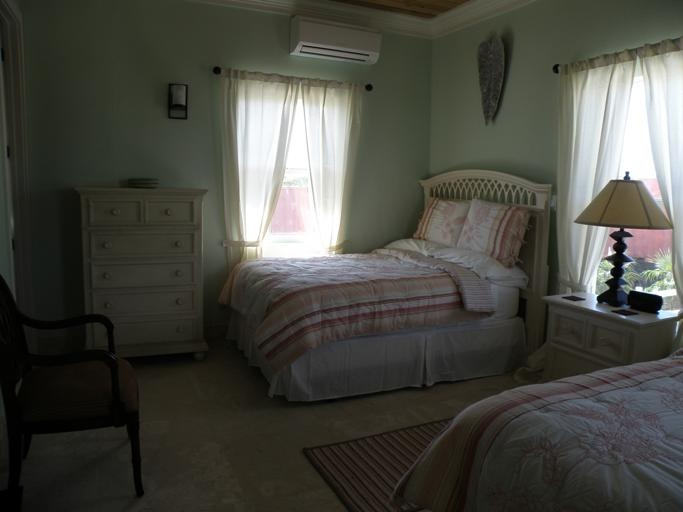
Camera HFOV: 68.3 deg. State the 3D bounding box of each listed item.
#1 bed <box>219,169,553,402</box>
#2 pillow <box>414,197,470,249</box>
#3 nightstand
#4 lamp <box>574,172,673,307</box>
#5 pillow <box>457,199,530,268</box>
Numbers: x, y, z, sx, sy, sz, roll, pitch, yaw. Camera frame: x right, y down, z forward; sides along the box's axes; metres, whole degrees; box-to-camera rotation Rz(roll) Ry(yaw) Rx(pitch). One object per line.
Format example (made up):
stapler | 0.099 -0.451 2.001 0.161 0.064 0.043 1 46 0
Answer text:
bed | 0.315 0.092 4.354 2.402 1.702 2.008 -5 11 -35
pillow | 0.974 -0.314 4.824 0.133 0.481 0.489 26 -6 -34
nightstand | 1.832 0.507 3.586 0.517 0.843 0.808 -2 6 -17
lamp | 1.911 -0.099 3.384 0.556 0.904 0.328 1 9 -5
pillow | 1.297 -0.210 4.253 0.162 0.539 0.553 16 9 -37
